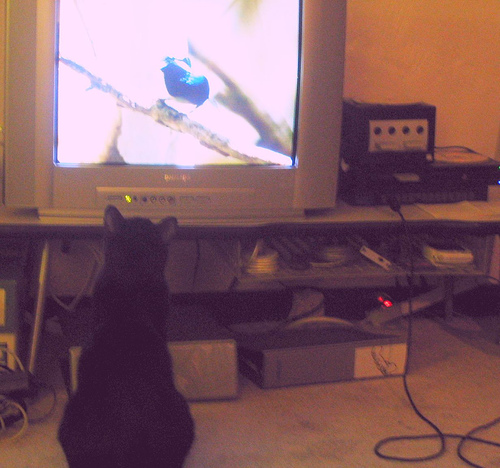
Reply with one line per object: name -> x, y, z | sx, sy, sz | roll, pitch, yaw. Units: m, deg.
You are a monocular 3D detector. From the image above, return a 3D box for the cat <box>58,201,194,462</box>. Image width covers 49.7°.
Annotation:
cat -> -0.265, 0.281, 1.238 | 0.229, 0.681, 0.276 | 2, -4, -11

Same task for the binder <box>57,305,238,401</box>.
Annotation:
binder -> -0.251, 0.374, 1.653 | 0.347, 0.160, 0.377 | -1, 3, -18
